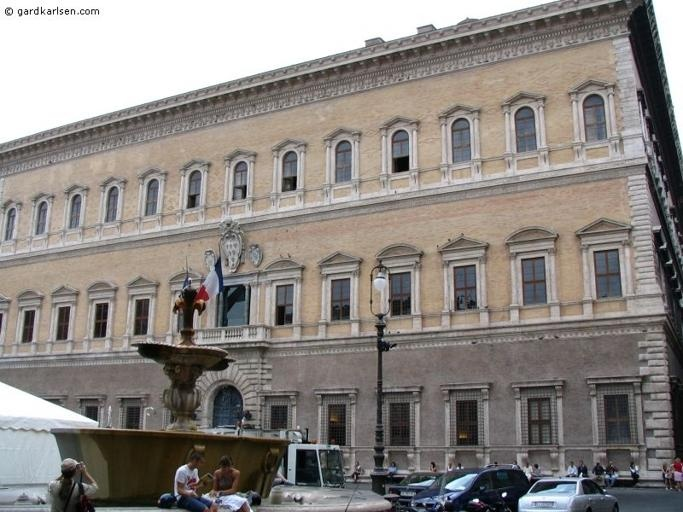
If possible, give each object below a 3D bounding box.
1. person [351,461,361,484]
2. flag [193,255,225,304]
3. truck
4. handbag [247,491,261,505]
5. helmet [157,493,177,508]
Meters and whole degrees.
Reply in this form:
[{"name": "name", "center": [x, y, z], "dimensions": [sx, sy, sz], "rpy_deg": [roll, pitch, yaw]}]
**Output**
[{"name": "person", "center": [0.700, 9.677, 43.087], "dimensions": [0.460, 0.967, 0.742], "rpy_deg": [-1, -20, -4]}, {"name": "flag", "center": [-4.601, 0.764, 34.363], "dimensions": [0.965, 2.280, 0.166], "rpy_deg": [-2, -48, 5]}, {"name": "truck", "center": [-3.577, 7.585, 36.641], "dimensions": [6.919, 2.962, 2.822], "rpy_deg": [-6, -14, 23]}, {"name": "handbag", "center": [-2.275, 6.247, 24.575], "dimensions": [0.291, 0.333, 0.367], "rpy_deg": [16, 22, 15]}, {"name": "helmet", "center": [-4.377, 6.100, 23.830], "dimensions": [0.302, 0.192, 0.400], "rpy_deg": [13, -18, -33]}]
